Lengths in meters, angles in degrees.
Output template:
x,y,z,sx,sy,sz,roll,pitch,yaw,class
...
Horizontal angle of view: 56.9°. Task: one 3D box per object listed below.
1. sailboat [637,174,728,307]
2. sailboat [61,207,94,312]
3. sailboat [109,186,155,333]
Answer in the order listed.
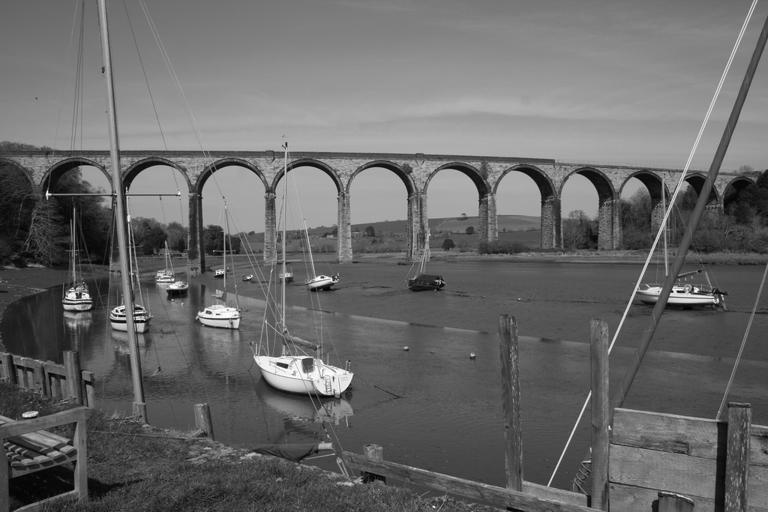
x,y,z,sx,sy,sz,roll,pitch,yaw,class
24.542,-1.526,57.631,6.695,14.186,5.455,3,-1,15,sailboat
-25.417,-0.705,58.509,1.947,6.855,40.902,-3,4,-23,sailboat
-16.406,0.852,45.866,3.620,11.813,2.614,1,-3,-9,sailboat
